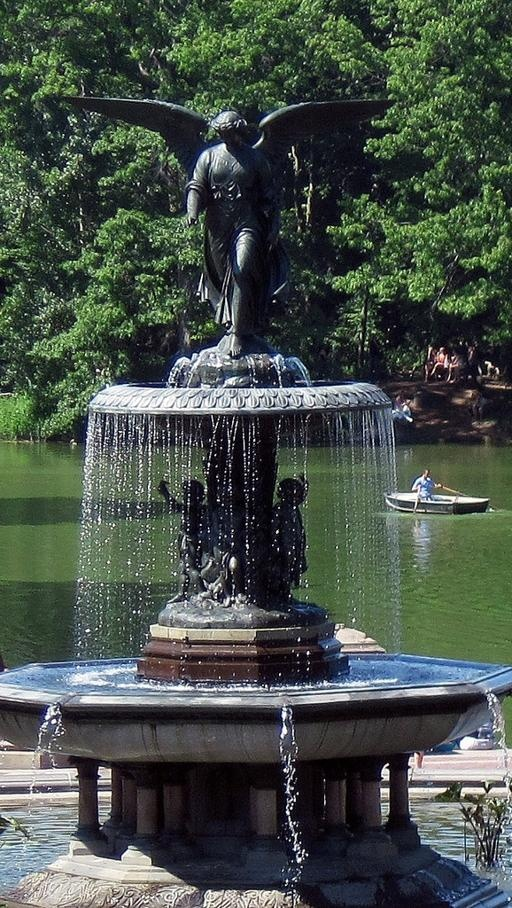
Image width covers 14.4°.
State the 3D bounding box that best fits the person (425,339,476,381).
[{"bbox_3d":[4.638,-2.175,48.525,0.789,0.645,1.141,2,8,21],"label":"person"}]

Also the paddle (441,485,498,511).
[{"bbox_3d":[3.403,0.764,32.695,0.280,0.320,1.162,3,6,-23],"label":"paddle"}]

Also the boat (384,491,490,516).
[{"bbox_3d":[2.877,0.839,33.012,1.910,0.461,0.622,4,4,43],"label":"boat"}]

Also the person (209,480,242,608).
[{"bbox_3d":[-0.169,0.583,12.153,0.210,0.876,0.279,-7,-27,16],"label":"person"}]

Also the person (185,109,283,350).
[{"bbox_3d":[-0.134,-1.319,12.425,0.609,1.519,0.682,-1,-3,-2],"label":"person"}]
